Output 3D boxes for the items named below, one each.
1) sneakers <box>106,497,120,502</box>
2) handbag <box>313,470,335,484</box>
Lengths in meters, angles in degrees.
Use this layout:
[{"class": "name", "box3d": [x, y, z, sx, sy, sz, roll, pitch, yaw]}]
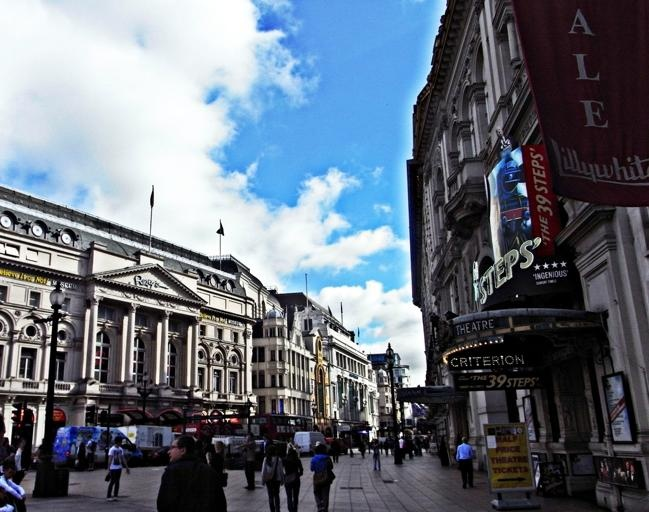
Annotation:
[{"class": "sneakers", "box3d": [-7.258, 8.340, 18.938, 0.453, 0.148, 0.120, 5, -30, 0]}, {"class": "handbag", "box3d": [-0.010, 5.741, 14.272, 0.523, 0.347, 0.290, -1, -21, -5]}]
